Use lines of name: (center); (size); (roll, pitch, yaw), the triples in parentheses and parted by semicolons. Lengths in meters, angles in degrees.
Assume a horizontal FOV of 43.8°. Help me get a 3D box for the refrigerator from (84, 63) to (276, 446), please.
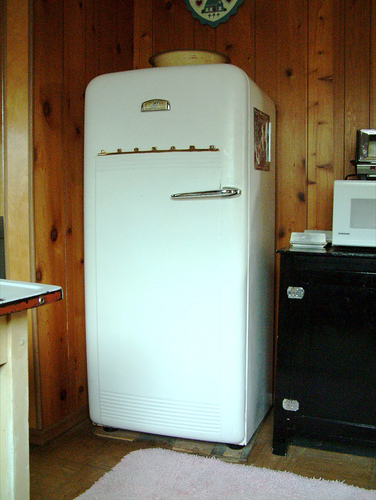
refrigerator: (-0.096, 0.022, 1.856); (0.692, 1.429, 0.242); (0, 8, 21)

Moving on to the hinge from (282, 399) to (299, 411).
hinge: (0.394, 0.586, 1.779); (0.045, 0.033, 0.006); (3, 5, 25)
